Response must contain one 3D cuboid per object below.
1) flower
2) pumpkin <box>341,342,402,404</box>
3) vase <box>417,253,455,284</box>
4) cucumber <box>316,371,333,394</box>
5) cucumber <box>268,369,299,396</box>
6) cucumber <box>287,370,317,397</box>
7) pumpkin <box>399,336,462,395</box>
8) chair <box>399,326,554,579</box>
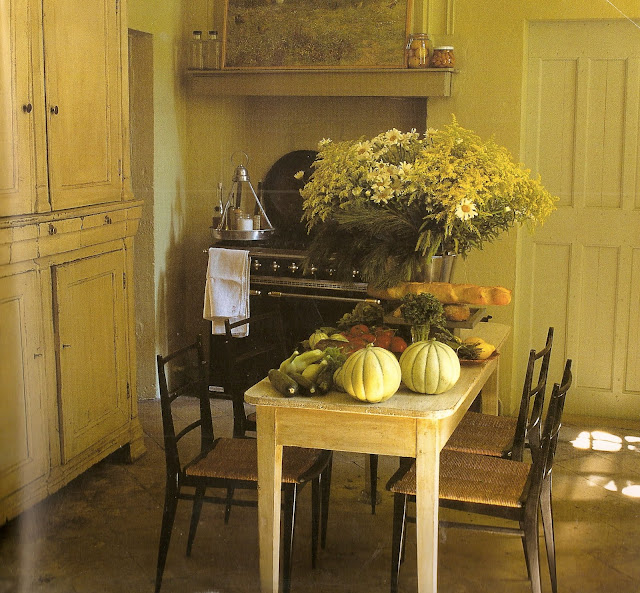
[{"bbox_3d":[0.352,-0.280,2.312,0.715,0.468,0.668,3,8,43],"label":"flower"},{"bbox_3d":[0.136,0.203,1.702,0.142,0.157,0.138,-2,-2,44],"label":"pumpkin"},{"bbox_3d":[0.430,-0.103,2.303,0.103,0.099,0.122,4,9,19],"label":"vase"},{"bbox_3d":[0.012,0.234,1.714,0.033,0.021,0.060,13,38,5],"label":"cucumber"},{"bbox_3d":[-0.104,0.234,1.741,0.041,0.050,0.095,7,18,-39],"label":"cucumber"},{"bbox_3d":[-0.054,0.232,1.719,0.081,0.045,0.031,40,17,21],"label":"cucumber"},{"bbox_3d":[0.301,0.194,1.715,0.142,0.155,0.146,2,4,42],"label":"pumpkin"},{"bbox_3d":[0.724,0.419,2.634,0.564,1.054,0.546,7,16,21],"label":"chair"}]
